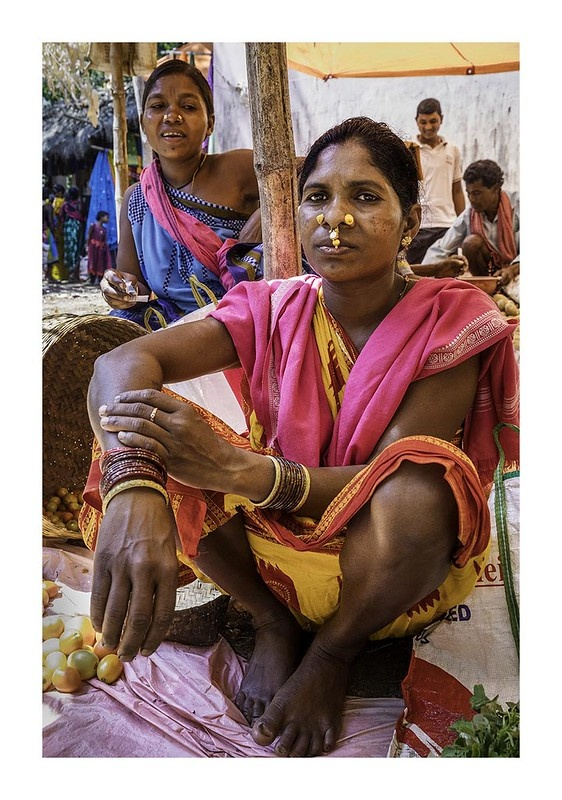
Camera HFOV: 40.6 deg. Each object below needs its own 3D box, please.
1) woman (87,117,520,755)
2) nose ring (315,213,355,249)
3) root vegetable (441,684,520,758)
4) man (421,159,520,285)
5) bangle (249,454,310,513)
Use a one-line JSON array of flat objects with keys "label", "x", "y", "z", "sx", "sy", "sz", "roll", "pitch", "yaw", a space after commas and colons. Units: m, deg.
[{"label": "woman", "x": 0.123, "y": 0.022, "z": 1.926, "sx": 1.228, "sy": 1.485, "sz": 0.799, "roll": -2, "pitch": 15, "yaw": -16}, {"label": "nose ring", "x": 0.145, "y": -0.438, "z": 1.960, "sx": 0.107, "sy": 0.090, "sz": 0.015, "roll": 4, "pitch": 6, "yaw": 22}, {"label": "root vegetable", "x": 0.457, "y": 0.749, "z": 1.747, "sx": 0.149, "sy": 0.141, "sz": 0.066, "roll": 38, "pitch": 4, "yaw": -1}, {"label": "man", "x": 1.503, "y": -1.335, "z": 5.933, "sx": 0.944, "sy": 0.954, "sz": 0.735, "roll": 3, "pitch": 14, "yaw": 17}, {"label": "bangle", "x": 0.008, "y": 0.213, "z": 1.848, "sx": 0.127, "sy": 0.158, "sz": 0.069, "roll": -8, "pitch": 17, "yaw": -35}]
